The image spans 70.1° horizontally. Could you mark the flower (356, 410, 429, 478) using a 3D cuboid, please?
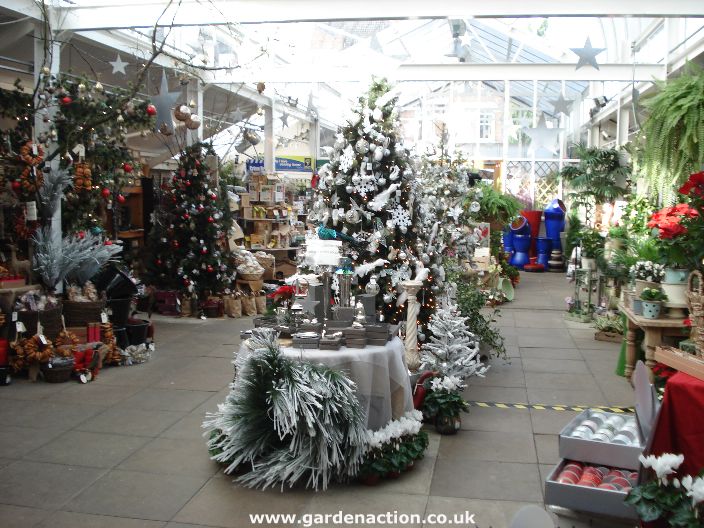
[{"bbox_3d":[0.298,1.219,3.416,0.405,0.179,0.361,-7,-8,36],"label":"flower"}]

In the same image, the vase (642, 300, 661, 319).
[{"bbox_3d":[2.746,0.420,4.630,0.169,0.124,0.165,3,-4,8],"label":"vase"}]

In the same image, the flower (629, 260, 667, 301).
[{"bbox_3d":[2.832,0.152,4.828,0.402,0.387,0.332,-1,0,-31],"label":"flower"}]

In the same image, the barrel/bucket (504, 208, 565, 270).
[{"bbox_3d":[5.513,-0.749,15.165,1.917,2.139,2.057,-1,0,0],"label":"barrel/bucket"}]

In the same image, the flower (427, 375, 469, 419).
[{"bbox_3d":[0.753,1.125,4.114,0.337,0.383,0.294,1,6,0],"label":"flower"}]

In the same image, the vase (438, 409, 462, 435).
[{"bbox_3d":[0.782,1.279,4.061,0.194,0.135,0.173,3,-8,-23],"label":"vase"}]
